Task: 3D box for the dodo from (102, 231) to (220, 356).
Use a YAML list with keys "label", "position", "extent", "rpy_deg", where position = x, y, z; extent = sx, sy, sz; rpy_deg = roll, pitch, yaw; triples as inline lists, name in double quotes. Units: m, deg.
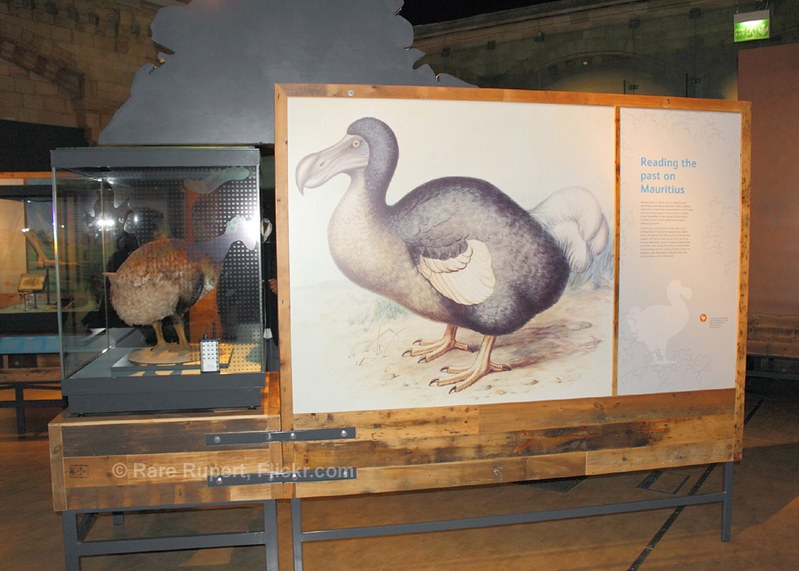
- label: "dodo"
  position: [-1.646, 0.059, 5.221]
  extent: [0.591, 0.662, 0.890]
  rpy_deg: [-10, 3, 42]
